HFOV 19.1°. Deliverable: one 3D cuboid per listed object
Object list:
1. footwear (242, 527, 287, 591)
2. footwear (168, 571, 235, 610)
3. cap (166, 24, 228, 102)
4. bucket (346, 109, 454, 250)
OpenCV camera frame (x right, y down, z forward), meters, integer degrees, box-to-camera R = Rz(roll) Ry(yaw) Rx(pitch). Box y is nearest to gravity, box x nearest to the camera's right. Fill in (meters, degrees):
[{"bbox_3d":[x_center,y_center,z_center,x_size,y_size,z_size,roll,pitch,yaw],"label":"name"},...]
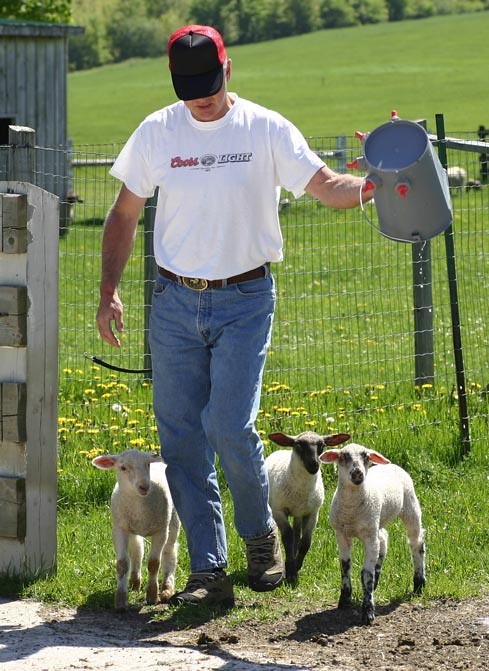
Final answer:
[{"bbox_3d":[0.107,1.077,6.936,0.116,0.157,0.370,-6,42,1],"label":"footwear"},{"bbox_3d":[-0.175,1.187,6.850,0.353,0.185,0.125,9,-6,-43],"label":"footwear"},{"bbox_3d":[-0.222,-1.270,6.773,0.275,0.381,0.310,-1,2,-2],"label":"cap"},{"bbox_3d":[0.714,-0.673,6.325,0.437,0.451,0.490,-4,-37,18],"label":"bucket"}]
